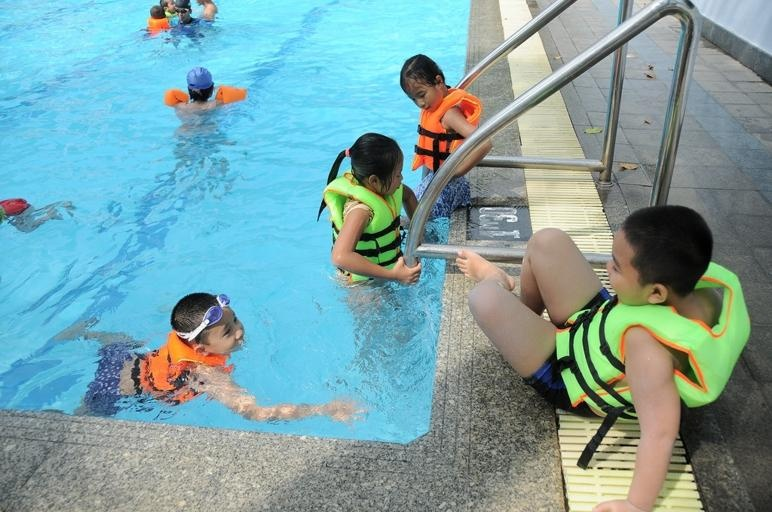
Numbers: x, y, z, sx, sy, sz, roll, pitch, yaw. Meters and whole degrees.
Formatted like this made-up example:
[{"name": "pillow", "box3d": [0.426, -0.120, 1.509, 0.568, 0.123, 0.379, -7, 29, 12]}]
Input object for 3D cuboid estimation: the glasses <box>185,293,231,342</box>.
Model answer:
[{"name": "glasses", "box3d": [-1.018, 0.355, 2.949, 0.263, 0.075, 0.214, -27, 18, 17]}]
